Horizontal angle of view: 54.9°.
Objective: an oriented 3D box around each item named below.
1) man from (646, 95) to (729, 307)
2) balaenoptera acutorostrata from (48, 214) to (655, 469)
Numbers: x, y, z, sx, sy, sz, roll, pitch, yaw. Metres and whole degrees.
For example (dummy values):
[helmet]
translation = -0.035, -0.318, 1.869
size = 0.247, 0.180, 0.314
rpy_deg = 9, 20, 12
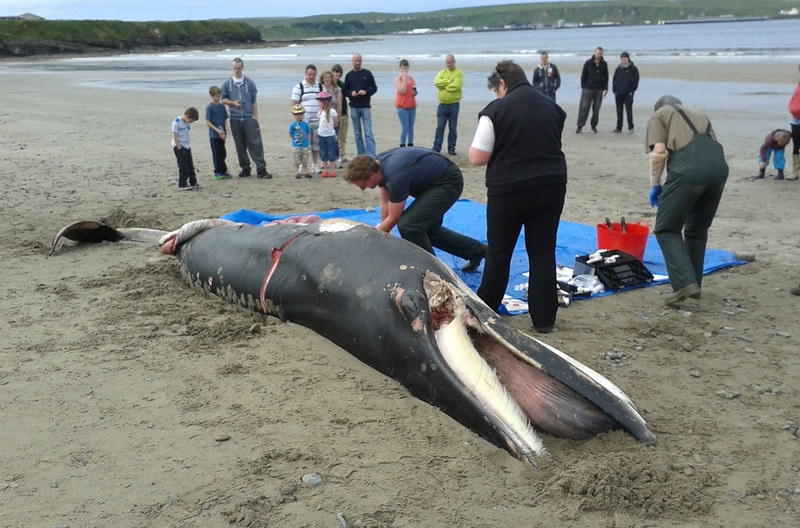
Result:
[man]
translation = 3.239, -0.731, 8.934
size = 0.847, 2.170, 0.911
rpy_deg = 9, 22, 31
[balaenoptera acutorostrata]
translation = -0.091, 0.523, 8.208
size = 7.057, 1.022, 1.815
rpy_deg = 17, 17, 28
